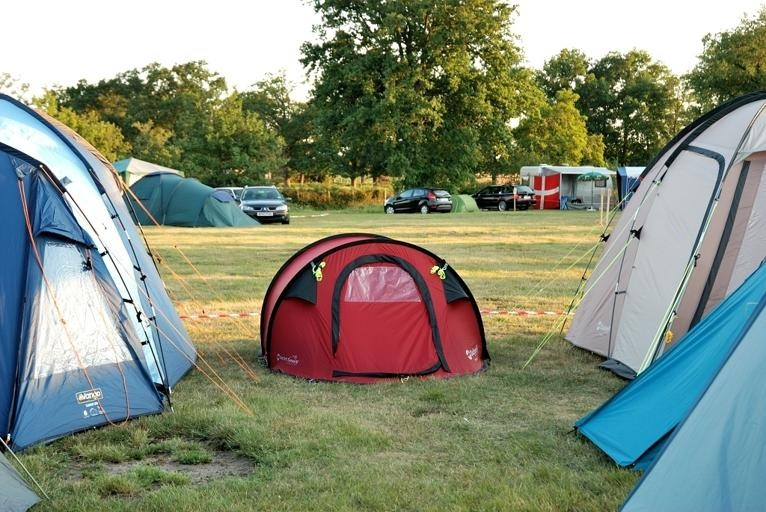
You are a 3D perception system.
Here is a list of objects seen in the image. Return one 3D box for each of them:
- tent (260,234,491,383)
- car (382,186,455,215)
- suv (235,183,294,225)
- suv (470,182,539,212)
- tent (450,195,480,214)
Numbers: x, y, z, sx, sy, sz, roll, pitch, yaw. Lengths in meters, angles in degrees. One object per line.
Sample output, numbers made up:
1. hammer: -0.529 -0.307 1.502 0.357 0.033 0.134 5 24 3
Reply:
1. tent: -0.189 0.842 11.743 2.966 1.838 2.871 -1 -10 -7
2. car: 1.567 -2.498 39.272 2.755 1.272 1.310 8 10 33
3. suv: -4.271 -1.719 32.180 1.598 1.364 3.685 -2 0 -3
4. suv: 5.910 -2.801 41.753 2.589 1.285 1.432 4 8 10
5. tent: 3.809 -2.430 40.557 0.982 0.574 0.998 7 11 41
